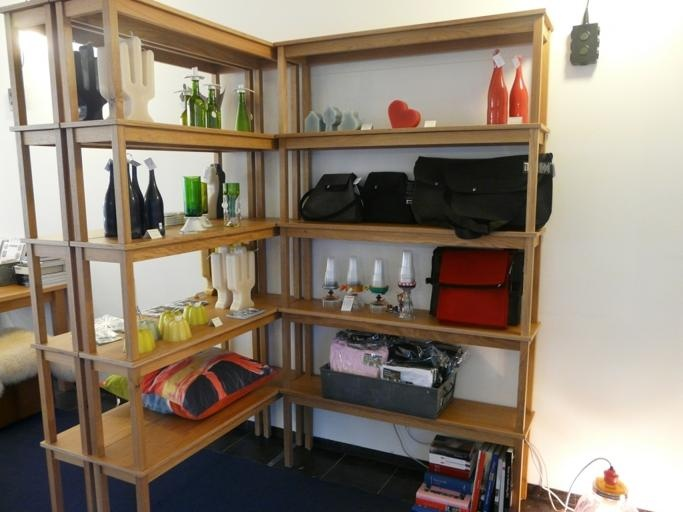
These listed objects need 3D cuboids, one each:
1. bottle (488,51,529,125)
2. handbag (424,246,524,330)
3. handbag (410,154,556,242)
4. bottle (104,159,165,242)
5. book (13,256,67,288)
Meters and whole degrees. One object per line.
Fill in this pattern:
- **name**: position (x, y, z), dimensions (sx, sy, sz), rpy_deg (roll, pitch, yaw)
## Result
- **bottle**: position (0.887, -0.903, 2.885), dimensions (0.219, 0.421, 0.405), rpy_deg (3, 11, 18)
- **handbag**: position (0.762, 0.163, 3.118), dimensions (0.582, 0.475, 0.407), rpy_deg (1, -1, 22)
- **handbag**: position (0.745, -0.320, 3.001), dimensions (0.921, 0.515, 0.449), rpy_deg (6, 13, 26)
- **bottle**: position (-1.086, -0.290, 2.738), dimensions (0.389, 0.390, 0.333), rpy_deg (6, 13, 33)
- **book**: position (-2.112, 0.120, 3.788), dimensions (0.227, 0.074, 0.232), rpy_deg (4, 10, 29)
